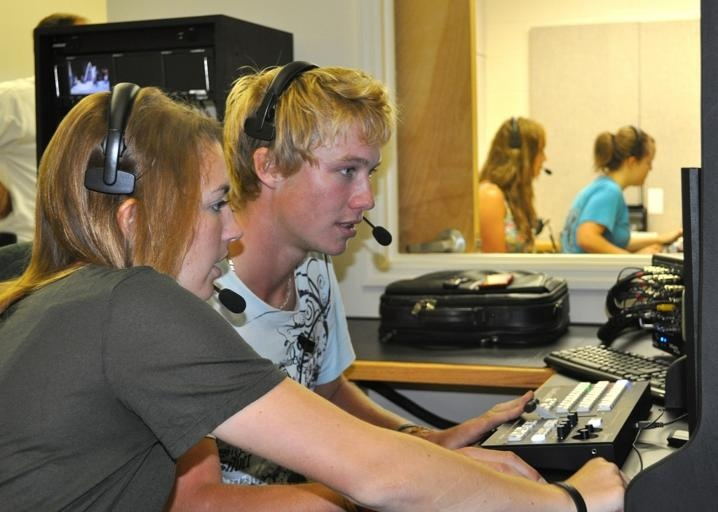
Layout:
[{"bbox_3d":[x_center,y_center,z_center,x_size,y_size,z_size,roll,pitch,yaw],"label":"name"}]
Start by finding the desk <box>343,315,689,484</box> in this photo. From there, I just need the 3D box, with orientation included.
[{"bbox_3d":[0.439,0.249,2.086,0.944,0.445,0.488,15,50,6],"label":"desk"}]

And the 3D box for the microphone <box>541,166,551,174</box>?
[{"bbox_3d":[0.745,-0.339,2.700,0.020,0.032,0.008,-31,-8,7],"label":"microphone"}]

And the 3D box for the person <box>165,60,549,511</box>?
[{"bbox_3d":[-0.031,0.001,1.890,0.991,1.241,0.935,-4,5,11],"label":"person"}]

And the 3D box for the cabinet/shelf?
[{"bbox_3d":[-0.793,-0.616,2.715,0.735,0.521,0.508,-1,10,6],"label":"cabinet/shelf"}]

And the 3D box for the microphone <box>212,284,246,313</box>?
[{"bbox_3d":[-0.285,0.077,1.411,0.093,0.021,0.047,26,-7,35],"label":"microphone"}]
